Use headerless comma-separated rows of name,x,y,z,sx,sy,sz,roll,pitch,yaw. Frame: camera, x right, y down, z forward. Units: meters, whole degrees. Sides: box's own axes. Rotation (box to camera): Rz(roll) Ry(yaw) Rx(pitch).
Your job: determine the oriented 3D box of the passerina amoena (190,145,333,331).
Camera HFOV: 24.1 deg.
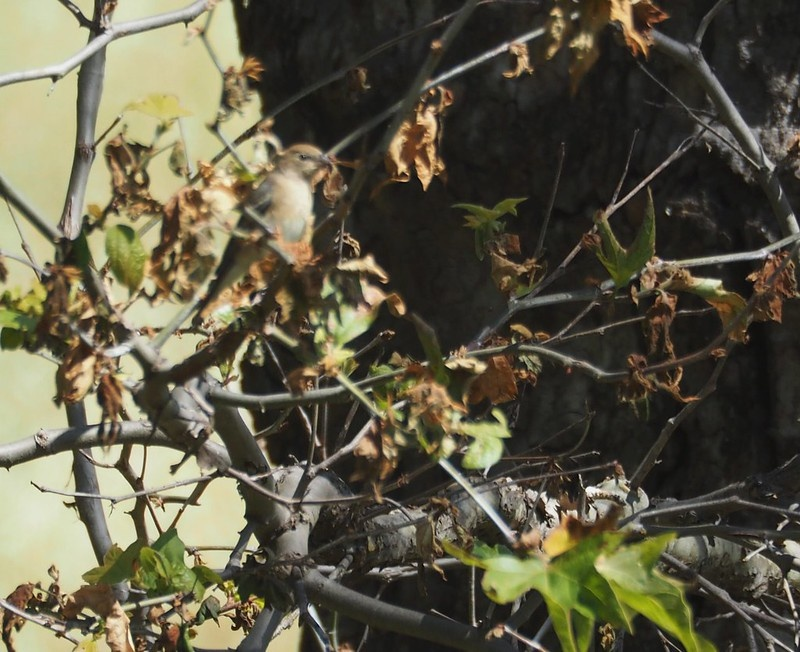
passerina amoena,-0.319,-0.203,4.382,0.386,0.210,0.140,-48,-51,-17
